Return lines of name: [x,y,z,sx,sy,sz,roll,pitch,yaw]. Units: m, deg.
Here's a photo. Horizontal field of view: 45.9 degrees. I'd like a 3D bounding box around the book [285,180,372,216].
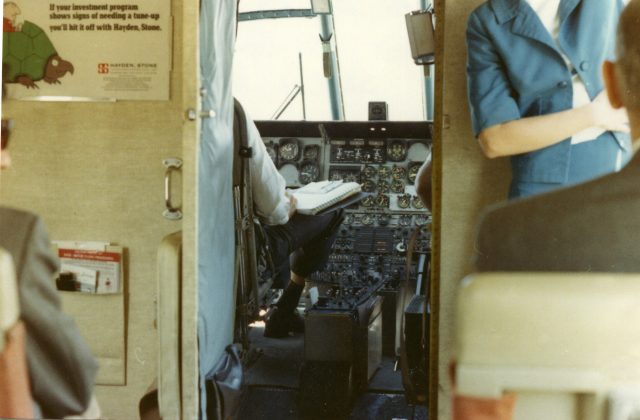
book: [0.027,-0.102,4.547,0.348,0.068,0.341,1,23,20]
